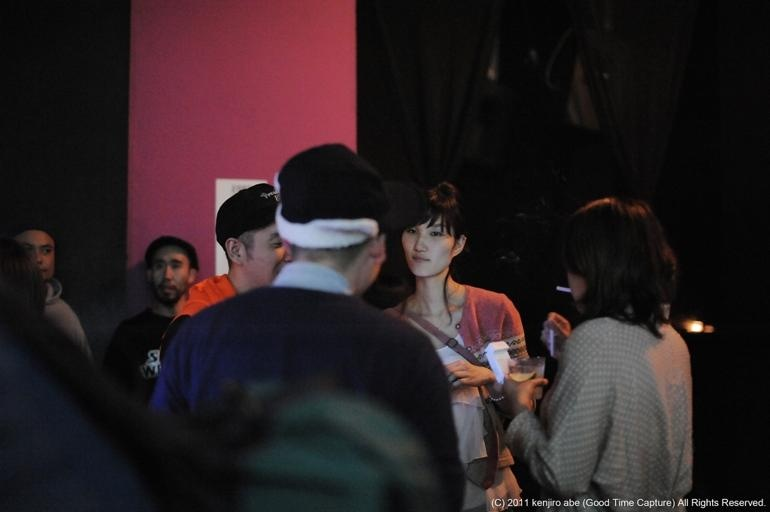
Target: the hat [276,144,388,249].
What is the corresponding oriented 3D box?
[{"bbox_3d":[-0.191,-0.246,2.524,0.322,0.227,0.436,17,40,21],"label":"hat"}]
